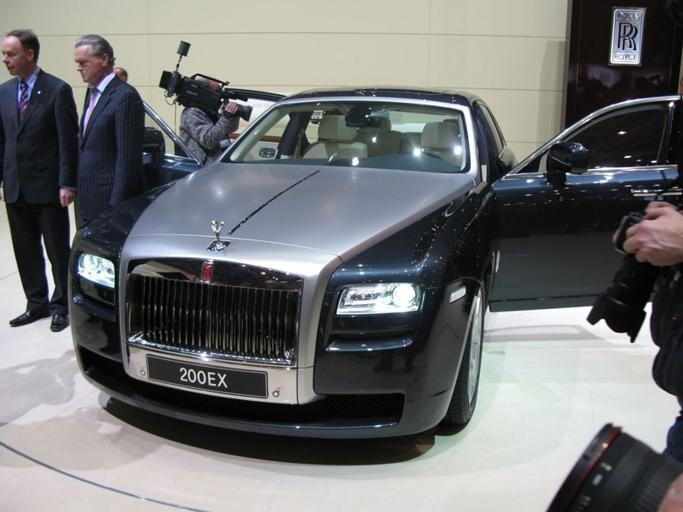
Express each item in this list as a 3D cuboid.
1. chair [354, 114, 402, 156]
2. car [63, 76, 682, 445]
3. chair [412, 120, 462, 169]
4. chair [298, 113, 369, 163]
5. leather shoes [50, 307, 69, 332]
[{"bbox_3d":[0.246,-0.779,3.523,0.283,0.304,0.267,-1,20,10],"label":"chair"},{"bbox_3d":[0.181,0.054,2.842,1.680,0.826,2.379,3,13,20],"label":"car"},{"bbox_3d":[0.629,-0.685,3.457,0.257,0.386,0.324,-2,-11,29],"label":"chair"},{"bbox_3d":[-0.040,-0.749,3.545,0.365,0.389,0.387,8,18,23],"label":"chair"},{"bbox_3d":[-2.046,0.468,3.890,0.078,0.094,0.222,1,2,-14],"label":"leather shoes"}]
